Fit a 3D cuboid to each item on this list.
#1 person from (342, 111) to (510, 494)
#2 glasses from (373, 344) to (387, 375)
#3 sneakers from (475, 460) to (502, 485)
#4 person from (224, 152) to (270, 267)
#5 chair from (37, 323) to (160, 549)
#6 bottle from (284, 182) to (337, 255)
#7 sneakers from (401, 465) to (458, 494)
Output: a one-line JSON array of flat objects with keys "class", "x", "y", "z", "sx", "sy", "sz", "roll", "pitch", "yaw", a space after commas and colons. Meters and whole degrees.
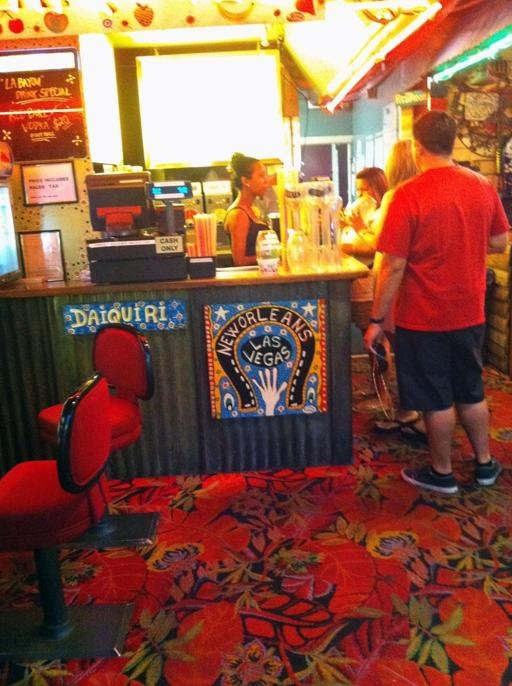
[{"class": "person", "x": 0.860, "y": -0.161, "z": 2.494, "sx": 0.622, "sy": 1.712, "sz": 0.306, "roll": -6, "pitch": 11, "yaw": 0}, {"class": "glasses", "x": 0.773, "y": 0.096, "z": 3.425, "sx": 0.082, "sy": 0.201, "sz": 0.080, "roll": 0, "pitch": 25, "yaw": 25}, {"class": "sneakers", "x": 1.099, "y": 0.614, "z": 2.602, "sx": 0.067, "sy": 0.067, "sz": 0.177, "roll": -1, "pitch": 11, "yaw": 22}, {"class": "person", "x": -0.052, "y": -0.851, "z": 3.448, "sx": 0.320, "sy": 0.704, "sz": 0.391, "roll": -7, "pitch": 11, "yaw": -3}, {"class": "chair", "x": -0.650, "y": 0.372, "z": 2.240, "sx": 0.526, "sy": 0.863, "sz": 0.499, "roll": -1, "pitch": 7, "yaw": 2}, {"class": "bottle", "x": 0.279, "y": -0.630, "z": 2.715, "sx": 0.263, "sy": 0.369, "sz": 0.158, "roll": -5, "pitch": 11, "yaw": 3}, {"class": "sneakers", "x": 0.823, "y": 0.651, "z": 2.641, "sx": 0.102, "sy": 0.095, "sz": 0.263, "roll": -3, "pitch": 8, "yaw": -41}]
